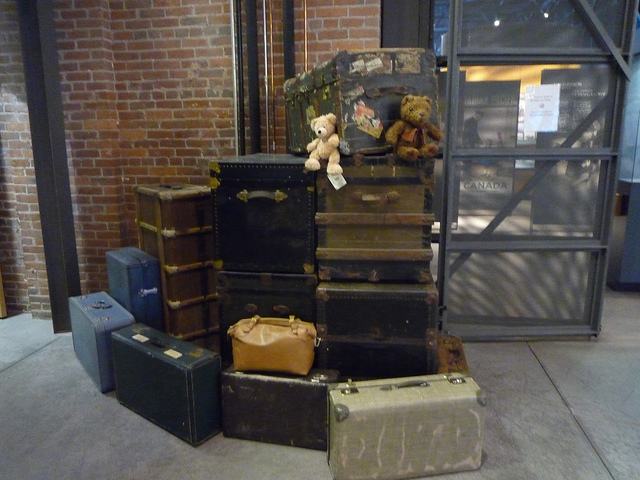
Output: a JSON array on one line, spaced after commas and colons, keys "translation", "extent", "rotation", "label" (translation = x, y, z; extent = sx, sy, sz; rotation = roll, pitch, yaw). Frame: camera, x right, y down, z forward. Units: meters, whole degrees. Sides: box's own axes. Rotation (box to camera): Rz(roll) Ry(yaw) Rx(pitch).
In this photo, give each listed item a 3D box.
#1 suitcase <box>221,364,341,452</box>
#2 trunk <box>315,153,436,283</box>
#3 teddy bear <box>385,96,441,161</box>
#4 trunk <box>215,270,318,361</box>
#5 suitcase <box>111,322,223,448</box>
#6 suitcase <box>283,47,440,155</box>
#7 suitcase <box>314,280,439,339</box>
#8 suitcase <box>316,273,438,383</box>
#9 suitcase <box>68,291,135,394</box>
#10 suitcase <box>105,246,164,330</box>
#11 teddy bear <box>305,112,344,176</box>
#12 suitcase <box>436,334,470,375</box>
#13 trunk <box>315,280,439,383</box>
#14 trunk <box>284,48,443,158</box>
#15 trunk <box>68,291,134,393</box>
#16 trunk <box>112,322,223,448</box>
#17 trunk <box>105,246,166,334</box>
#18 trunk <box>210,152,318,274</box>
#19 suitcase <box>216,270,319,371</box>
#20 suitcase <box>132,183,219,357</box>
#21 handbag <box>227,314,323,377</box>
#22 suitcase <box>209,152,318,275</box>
[{"translation": [-0.286, 1.279, 4.770], "extent": [0.976, 0.568, 0.668], "rotation": [3, -3, 9], "label": "suitcase"}, {"translation": [0.437, -0.240, 4.992], "extent": [0.964, 1.040, 0.975], "rotation": [1, 9, 5], "label": "trunk"}, {"translation": [0.693, -0.843, 4.386], "extent": [0.386, 0.479, 0.206], "rotation": [0, 17, 4], "label": "teddy bear"}, {"translation": [-0.391, 0.806, 5.071], "extent": [1.099, 1.080, 0.643], "rotation": [0, 7, 8], "label": "trunk"}, {"translation": [-1.223, 1.168, 4.520], "extent": [1.165, 0.691, 0.676], "rotation": [7, 11, 38], "label": "suitcase"}, {"translation": [0.287, -1.206, 4.835], "extent": [1.024, 0.900, 1.542], "rotation": [0, 15, -14], "label": "suitcase"}, {"translation": [0.433, 0.516, 4.885], "extent": [1.043, 0.498, 0.786], "rotation": [0, 16, -10], "label": "suitcase"}, {"translation": [0.513, 0.735, 5.116], "extent": [1.067, 0.840, 0.889], "rotation": [1, 9, 6], "label": "suitcase"}, {"translation": [-1.989, 0.885, 5.276], "extent": [0.321, 0.696, 0.892], "rotation": [-11, 20, -36], "label": "suitcase"}, {"translation": [-1.640, 0.451, 5.165], "extent": [0.218, 0.624, 0.610], "rotation": [-12, 20, -40], "label": "suitcase"}, {"translation": [0.023, -0.737, 4.480], "extent": [0.273, 0.518, 0.224], "rotation": [-4, 20, -12], "label": "teddy bear"}, {"translation": [1.114, 0.925, 4.863], "extent": [0.229, 0.413, 0.252], "rotation": [-7, 25, 17], "label": "suitcase"}, {"translation": [0.464, 0.705, 4.928], "extent": [0.939, 0.791, 0.724], "rotation": [3, 13, 3], "label": "trunk"}, {"translation": [0.389, -0.720, 4.739], "extent": [0.926, 0.780, 1.419], "rotation": [-4, 8, -25], "label": "trunk"}, {"translation": [-1.983, 0.885, 5.233], "extent": [0.293, 0.711, 0.803], "rotation": [-9, 21, -37], "label": "trunk"}, {"translation": [-1.206, 1.137, 4.615], "extent": [0.951, 0.684, 0.347], "rotation": [10, 21, 32], "label": "trunk"}, {"translation": [-1.687, 0.379, 5.283], "extent": [0.427, 0.757, 0.538], "rotation": [-7, 18, -31], "label": "trunk"}, {"translation": [-0.410, -0.282, 5.014], "extent": [0.884, 0.906, 0.891], "rotation": [0, 7, 1], "label": "trunk"}, {"translation": [-0.381, 0.618, 4.575], "extent": [0.734, 0.729, 0.454], "rotation": [0, 7, 9], "label": "suitcase"}, {"translation": [-1.330, 0.348, 5.647], "extent": [0.638, 1.753, 0.888], "rotation": [-12, 18, -37], "label": "suitcase"}, {"translation": [-0.368, 0.813, 4.546], "extent": [0.731, 0.435, 0.332], "rotation": [3, 0, 2], "label": "handbag"}, {"translation": [-0.417, -0.205, 4.606], "extent": [0.799, 0.968, 0.697], "rotation": [3, 16, 4], "label": "suitcase"}]
